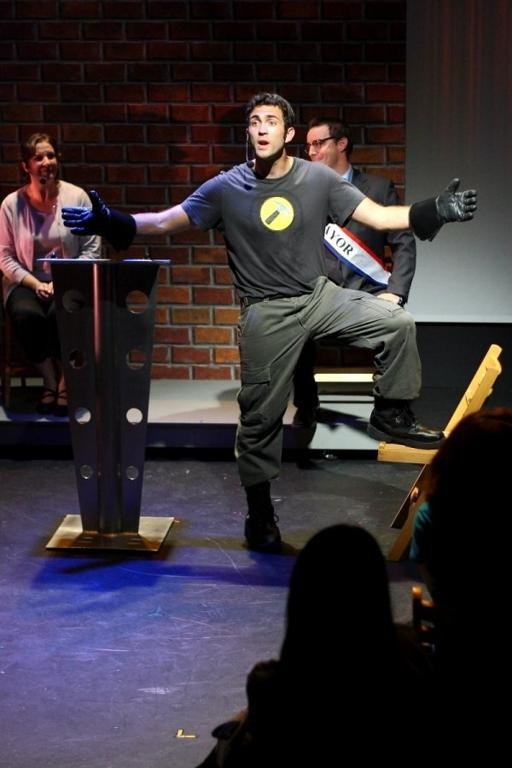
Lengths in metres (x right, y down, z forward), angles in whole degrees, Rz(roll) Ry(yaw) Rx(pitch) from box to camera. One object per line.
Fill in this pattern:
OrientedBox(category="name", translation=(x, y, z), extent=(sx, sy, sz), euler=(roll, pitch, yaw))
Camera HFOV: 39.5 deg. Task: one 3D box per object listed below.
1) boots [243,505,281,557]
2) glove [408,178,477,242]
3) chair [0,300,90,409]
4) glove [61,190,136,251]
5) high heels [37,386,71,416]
OrientedBox(category="boots", translation=(0.043, 0.526, 2.529), extent=(0.104, 0.160, 0.179), euler=(1, 14, 8))
OrientedBox(category="glove", translation=(0.570, -0.528, 2.190), extent=(0.110, 0.155, 0.240), euler=(2, -14, -40))
OrientedBox(category="chair", translation=(-1.108, -0.210, 3.663), extent=(0.315, 0.906, 0.401), euler=(-10, -1, -18))
OrientedBox(category="glove", translation=(-0.534, -0.534, 2.342), extent=(0.215, 0.193, 0.313), euler=(2, 16, 3))
OrientedBox(category="high heels", translation=(-1.057, 0.076, 3.720), extent=(0.159, 0.094, 0.372), euler=(-1, 5, -9))
